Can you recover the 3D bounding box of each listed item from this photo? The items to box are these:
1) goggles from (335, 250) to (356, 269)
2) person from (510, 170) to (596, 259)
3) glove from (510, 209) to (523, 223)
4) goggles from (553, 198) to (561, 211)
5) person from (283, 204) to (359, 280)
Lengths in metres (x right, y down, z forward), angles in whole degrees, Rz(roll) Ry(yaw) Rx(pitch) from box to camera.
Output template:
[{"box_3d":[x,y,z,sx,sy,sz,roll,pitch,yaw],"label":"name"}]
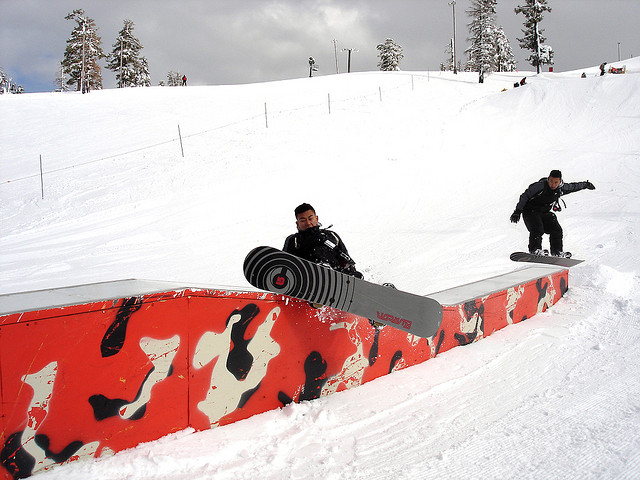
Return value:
[{"box_3d":[0.329,0.260,7.122,0.250,0.172,0.092,39,4,-4],"label":"goggles"},{"box_3d":[4.358,-0.448,10.415,1.243,1.731,1.007,4,-2,20],"label":"person"},{"box_3d":[3.751,-0.452,10.548,0.189,0.294,0.334,6,17,22],"label":"glove"},{"box_3d":[4.525,-0.657,10.542,0.121,0.200,0.252,9,18,30],"label":"goggles"},{"box_3d":[-0.006,0.153,7.269,0.848,0.491,1.290,17,20,39],"label":"person"}]
